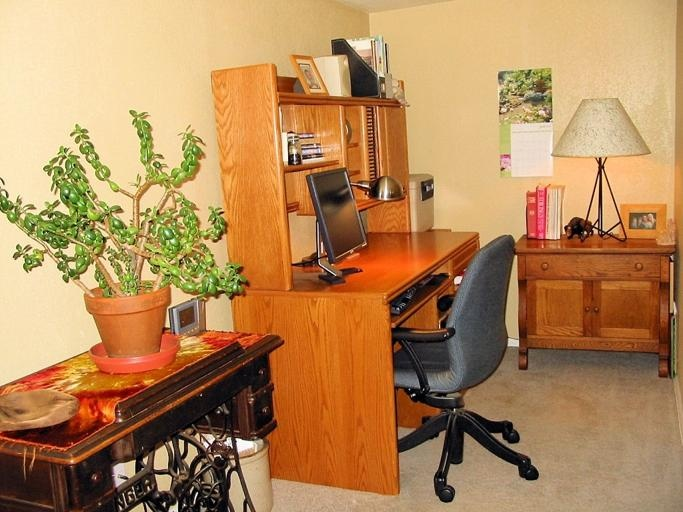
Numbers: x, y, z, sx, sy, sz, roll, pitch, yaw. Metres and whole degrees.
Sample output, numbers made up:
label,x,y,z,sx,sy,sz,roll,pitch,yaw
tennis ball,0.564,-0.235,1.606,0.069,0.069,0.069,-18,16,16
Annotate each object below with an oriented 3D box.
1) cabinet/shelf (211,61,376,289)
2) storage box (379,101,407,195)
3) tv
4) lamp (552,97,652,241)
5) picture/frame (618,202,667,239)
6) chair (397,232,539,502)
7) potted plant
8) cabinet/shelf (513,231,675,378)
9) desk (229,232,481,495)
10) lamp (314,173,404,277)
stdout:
label,x,y,z,sx,sy,sz,roll,pitch,yaw
cabinet/shelf,-0.267,-0.424,2.693,0.396,1.194,1.194,-1,12,16
storage box,0.323,-0.748,3.796,0.197,0.557,0.328,-1,-7,-20
tv,-0.025,-0.168,2.857,0.294,0.644,0.571,-3,16,20
lamp,1.864,-0.640,3.837,0.603,1.025,0.500,-1,13,14
picture/frame,2.205,-0.258,3.813,0.268,0.227,0.018,3,4,19
chair,0.593,0.539,2.741,0.832,1.124,0.820,3,11,44
potted plant,-0.804,-0.124,1.901,0.762,0.831,0.853,-8,13,-18
cabinet/shelf,1.832,0.330,3.746,1.052,0.851,0.405,1,6,14
desk,0.234,0.519,3.150,0.695,0.895,1.408,1,8,25
lamp,0.080,-0.165,2.858,0.549,0.598,0.614,0,14,17
